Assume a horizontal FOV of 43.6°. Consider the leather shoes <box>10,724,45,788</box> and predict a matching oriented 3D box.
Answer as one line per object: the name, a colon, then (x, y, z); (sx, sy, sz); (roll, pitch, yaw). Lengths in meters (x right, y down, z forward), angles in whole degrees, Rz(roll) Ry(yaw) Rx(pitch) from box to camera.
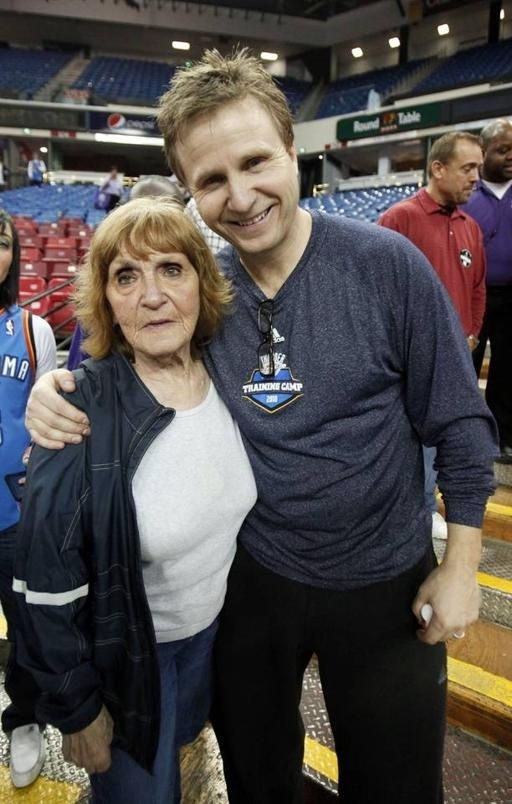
leather shoes: (-0.638, 0.979, 1.777); (0.085, 0.059, 0.153); (-4, 55, -12)
